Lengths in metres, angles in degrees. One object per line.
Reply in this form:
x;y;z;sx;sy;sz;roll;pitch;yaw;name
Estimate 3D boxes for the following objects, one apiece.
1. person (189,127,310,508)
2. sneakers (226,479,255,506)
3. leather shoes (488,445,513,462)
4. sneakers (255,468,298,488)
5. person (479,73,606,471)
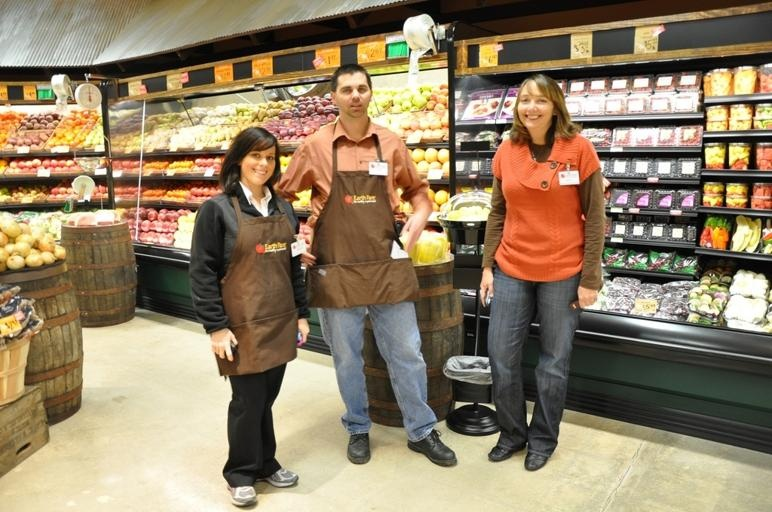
-0.768;0.353;2.765;0.654;2.151;0.446;-9;15;-28;person
-0.877;1.403;2.813;0.084;0.075;0.201;4;-6;-39;sneakers
0.742;1.287;3.088;0.151;0.045;0.082;0;5;-42;leather shoes
-0.700;1.375;2.956;0.260;0.085;0.087;-2;-3;15;sneakers
0.944;0.127;2.952;0.749;2.413;0.518;4;15;20;person
